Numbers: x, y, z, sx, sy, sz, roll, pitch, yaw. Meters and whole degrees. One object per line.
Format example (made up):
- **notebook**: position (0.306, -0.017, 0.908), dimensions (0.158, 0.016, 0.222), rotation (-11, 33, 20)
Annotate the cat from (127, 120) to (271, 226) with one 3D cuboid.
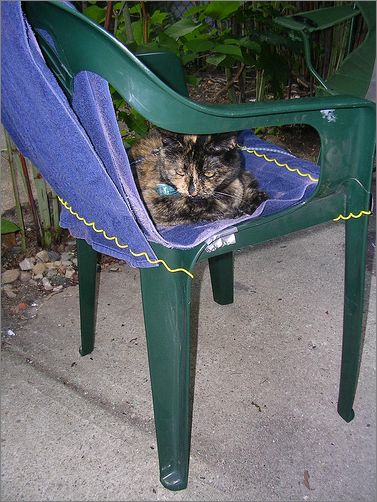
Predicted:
- **cat**: position (0.008, -0.166, 0.921), dimensions (0.224, 0.095, 0.281), rotation (-7, 62, -1)
